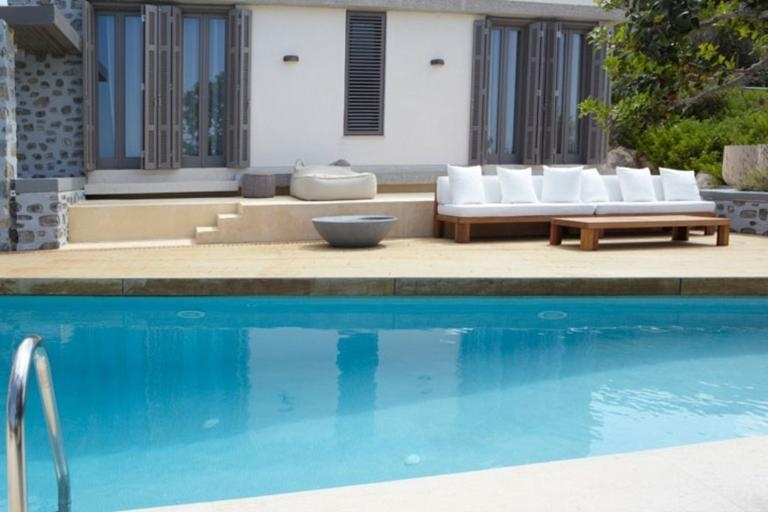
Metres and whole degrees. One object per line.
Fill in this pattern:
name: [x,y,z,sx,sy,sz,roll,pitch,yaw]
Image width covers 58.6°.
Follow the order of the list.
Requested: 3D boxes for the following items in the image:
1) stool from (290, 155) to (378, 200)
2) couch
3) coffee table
stool: [-0.831,-1.133,10.469,1.060,0.487,1.447,-5,10,-18]
couch: [2.868,-0.704,9.935,3.668,0.865,1.101,0,9,-1]
coffee table: [3.415,-0.386,9.479,2.363,0.461,1.524,-3,10,-5]
